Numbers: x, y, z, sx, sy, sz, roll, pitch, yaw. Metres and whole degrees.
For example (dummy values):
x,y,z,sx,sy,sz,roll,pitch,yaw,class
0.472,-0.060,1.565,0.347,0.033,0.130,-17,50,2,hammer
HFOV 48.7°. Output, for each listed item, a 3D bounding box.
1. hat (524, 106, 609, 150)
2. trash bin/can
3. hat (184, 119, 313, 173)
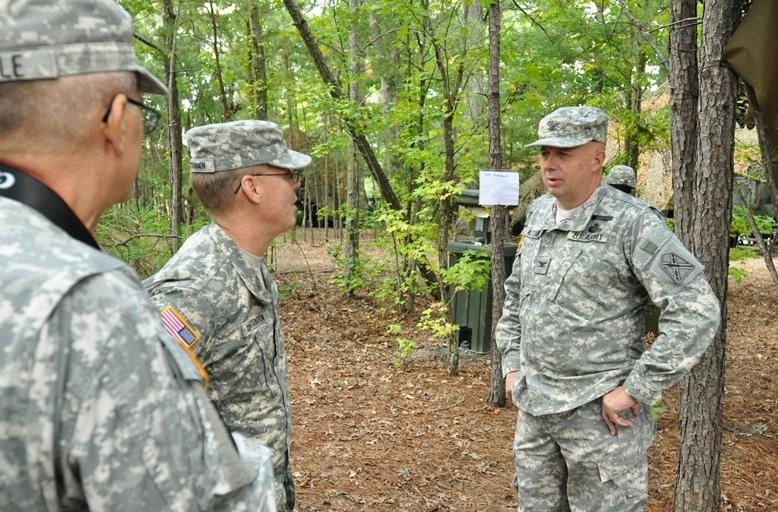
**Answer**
x,y,z,sx,sy,sz,roll,pitch,yaw,class
1.220,-0.873,5.850,0.489,0.262,0.658,5,11,40,hat
1.080,0.166,10.245,0.858,1.838,0.867,15,14,37,trash bin/can
-0.845,-0.638,5.382,0.793,0.250,0.526,-4,-3,-11,hat
